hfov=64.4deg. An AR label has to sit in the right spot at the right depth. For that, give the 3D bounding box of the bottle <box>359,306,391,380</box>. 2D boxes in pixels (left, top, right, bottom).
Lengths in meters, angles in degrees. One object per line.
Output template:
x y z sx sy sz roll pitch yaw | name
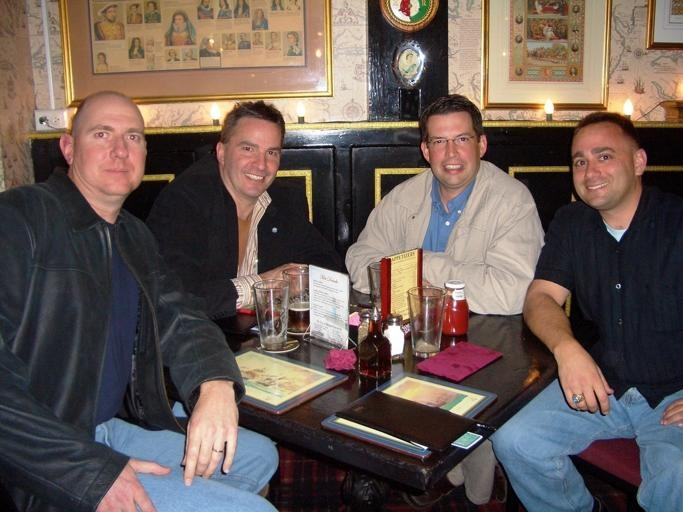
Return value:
0.105 0.270 1.700 0.106 0.222 0.137 0 12 3 | bottle

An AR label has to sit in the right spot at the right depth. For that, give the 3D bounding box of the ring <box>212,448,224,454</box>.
-0.362 0.574 1.599 0.025 0.019 0.025 2 3 0 | ring

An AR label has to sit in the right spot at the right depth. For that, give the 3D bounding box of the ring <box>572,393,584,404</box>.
0.798 0.482 1.839 0.039 0.040 0.020 -8 42 47 | ring

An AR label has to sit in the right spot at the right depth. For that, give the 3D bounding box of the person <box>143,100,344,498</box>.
-0.499 -0.115 2.802 0.897 1.261 0.977 7 9 41 | person
